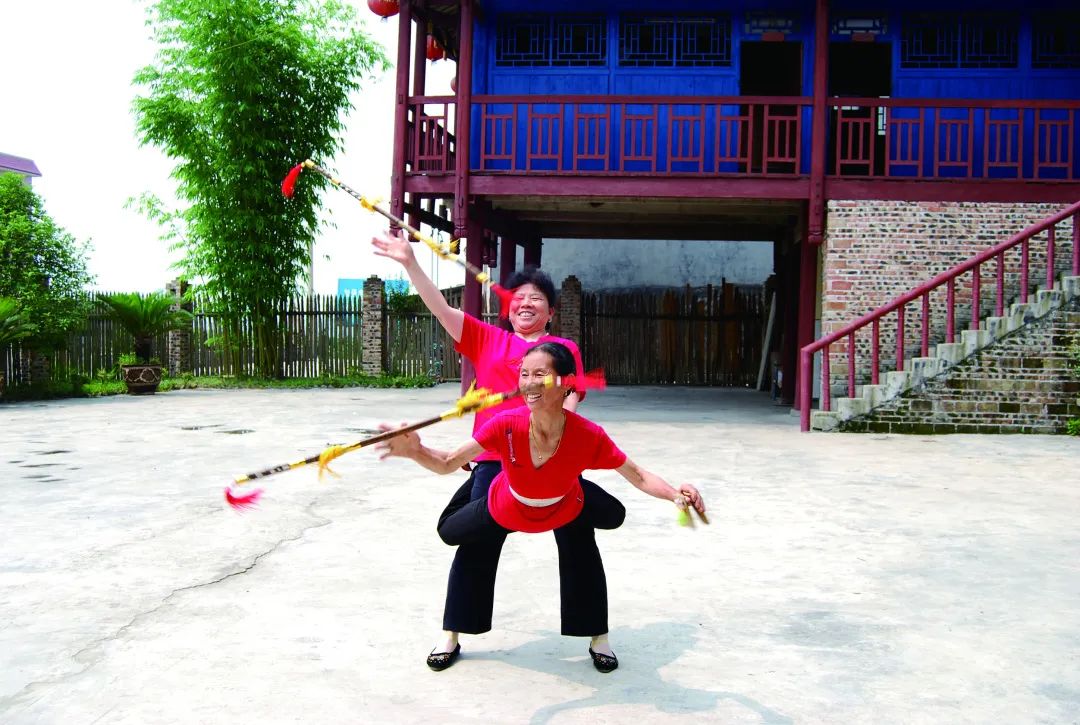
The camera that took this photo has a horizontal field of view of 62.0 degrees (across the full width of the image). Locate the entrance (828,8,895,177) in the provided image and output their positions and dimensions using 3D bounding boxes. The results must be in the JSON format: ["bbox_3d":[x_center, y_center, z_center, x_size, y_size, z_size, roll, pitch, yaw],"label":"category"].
[{"bbox_3d":[5.009,-4.282,14.246,1.036,2.361,0.280,-8,20,-2],"label":"entrance"}]

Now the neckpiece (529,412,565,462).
[{"bbox_3d":[0.025,0.363,4.443,0.150,0.227,0.059,3,8,0],"label":"neckpiece"}]

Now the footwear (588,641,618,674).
[{"bbox_3d":[0.342,1.524,4.691,0.141,0.127,0.169,-2,8,-13],"label":"footwear"}]

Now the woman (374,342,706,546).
[{"bbox_3d":[0.026,0.340,4.478,1.922,0.720,0.513,3,-3,34],"label":"woman"}]

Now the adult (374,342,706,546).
[{"bbox_3d":[0.033,0.343,4.481,1.938,0.716,0.502,4,-5,32],"label":"adult"}]

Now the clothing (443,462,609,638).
[{"bbox_3d":[-0.081,1.031,4.829,1.143,0.936,0.451,1,-5,2],"label":"clothing"}]

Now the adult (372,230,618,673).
[{"bbox_3d":[-0.110,0.667,5.075,1.356,2.038,1.019,-5,-26,20],"label":"adult"}]
